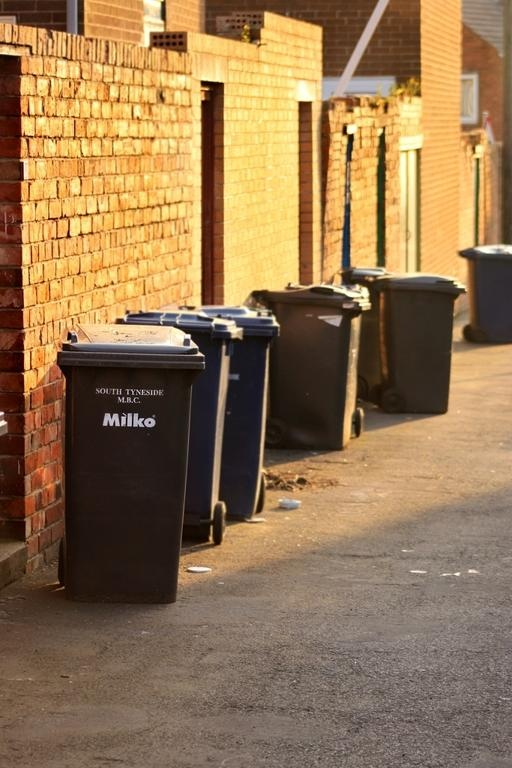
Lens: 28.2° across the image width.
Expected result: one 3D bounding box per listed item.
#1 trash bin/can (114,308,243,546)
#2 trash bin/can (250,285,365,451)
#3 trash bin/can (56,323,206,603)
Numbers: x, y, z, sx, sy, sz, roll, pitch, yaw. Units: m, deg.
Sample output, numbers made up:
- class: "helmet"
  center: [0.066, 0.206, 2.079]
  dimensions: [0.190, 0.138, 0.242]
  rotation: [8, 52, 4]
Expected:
- class: "trash bin/can"
  center: [-0.260, 0.139, 5.352]
  dimensions: [0.704, 1.560, 0.970]
  rotation: [3, 11, 3]
- class: "trash bin/can"
  center: [0.500, -0.162, 8.181]
  dimensions: [0.985, 1.612, 0.953]
  rotation: [0, 7, 7]
- class: "trash bin/can"
  center: [-0.537, 0.353, 4.285]
  dimensions: [0.597, 1.114, 0.401]
  rotation: [-1, 6, -11]
